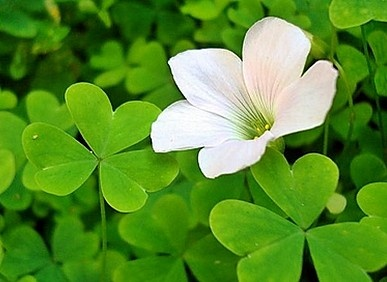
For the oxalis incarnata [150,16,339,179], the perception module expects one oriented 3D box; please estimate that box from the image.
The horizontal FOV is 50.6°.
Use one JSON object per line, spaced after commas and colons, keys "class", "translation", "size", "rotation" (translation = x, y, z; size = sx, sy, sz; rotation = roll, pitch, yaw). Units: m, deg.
{"class": "oxalis incarnata", "translation": [0.137, -0.146, 1.154], "size": [0.500, 0.506, 0.256], "rotation": [-28, 91, -12]}
